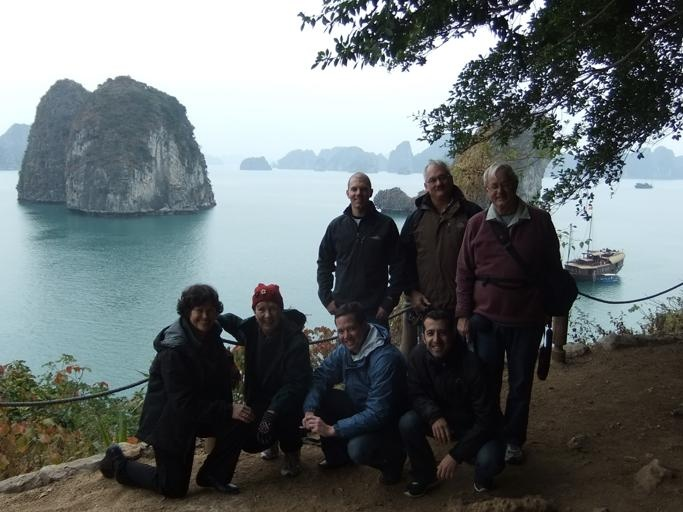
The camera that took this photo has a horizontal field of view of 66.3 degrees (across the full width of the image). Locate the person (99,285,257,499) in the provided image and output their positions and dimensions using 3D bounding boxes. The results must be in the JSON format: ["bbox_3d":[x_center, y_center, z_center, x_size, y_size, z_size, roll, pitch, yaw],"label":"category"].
[{"bbox_3d":[-1.182,1.056,4.179,1.143,1.566,0.881,0,-2,36],"label":"person"}]

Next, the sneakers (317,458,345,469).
[{"bbox_3d":[-0.080,1.670,4.224,0.211,0.094,0.074,-1,3,5],"label":"sneakers"}]

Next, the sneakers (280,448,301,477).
[{"bbox_3d":[-0.404,1.620,4.185,0.154,0.212,0.179,-5,9,-5],"label":"sneakers"}]

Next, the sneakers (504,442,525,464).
[{"bbox_3d":[1.327,1.530,4.057,0.127,0.150,0.380,-3,-12,15],"label":"sneakers"}]

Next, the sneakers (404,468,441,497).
[{"bbox_3d":[0.605,1.670,3.856,0.114,0.134,0.310,-16,-14,43],"label":"sneakers"}]

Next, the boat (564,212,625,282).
[{"bbox_3d":[13.598,0.419,28.124,1.617,1.881,4.372,4,12,43],"label":"boat"}]

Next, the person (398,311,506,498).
[{"bbox_3d":[0.818,1.088,3.917,0.781,1.267,0.667,-7,1,20],"label":"person"}]

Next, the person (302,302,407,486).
[{"bbox_3d":[0.112,1.077,4.142,0.938,1.319,0.903,-2,2,-36],"label":"person"}]

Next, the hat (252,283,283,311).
[{"bbox_3d":[-0.601,0.312,4.188,0.234,0.205,0.290,-7,9,-13],"label":"hat"}]

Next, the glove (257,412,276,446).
[{"bbox_3d":[-0.575,1.326,4.015,0.087,0.235,0.170,2,10,-12],"label":"glove"}]
